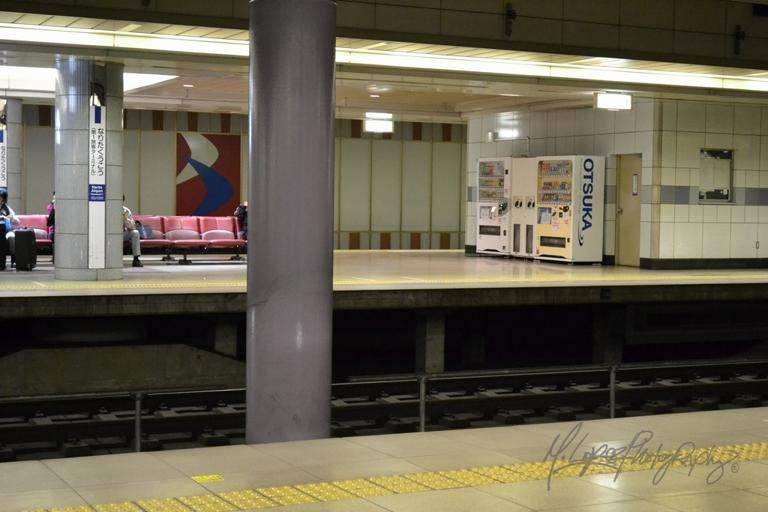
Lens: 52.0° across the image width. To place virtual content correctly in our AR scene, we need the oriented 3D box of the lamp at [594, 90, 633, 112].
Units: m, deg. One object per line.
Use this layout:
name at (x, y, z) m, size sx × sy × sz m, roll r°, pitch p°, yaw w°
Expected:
lamp at (5.052, -3.445, 17.356) m, size 1.196 × 0.338 × 0.555 m, roll 0°, pitch 1°, yaw -36°

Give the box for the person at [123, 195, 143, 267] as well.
person at (-5.711, -0.429, 17.957) m, size 0.400 × 1.599 × 0.546 m, roll 1°, pitch 0°, yaw -17°

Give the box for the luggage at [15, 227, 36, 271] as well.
luggage at (-7.593, -0.138, 16.706) m, size 0.427 × 0.954 × 0.372 m, roll 1°, pitch 0°, yaw -25°

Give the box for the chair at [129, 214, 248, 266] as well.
chair at (-4.801, -0.417, 19.561) m, size 2.623 × 1.242 × 2.135 m, roll 0°, pitch 1°, yaw -17°
